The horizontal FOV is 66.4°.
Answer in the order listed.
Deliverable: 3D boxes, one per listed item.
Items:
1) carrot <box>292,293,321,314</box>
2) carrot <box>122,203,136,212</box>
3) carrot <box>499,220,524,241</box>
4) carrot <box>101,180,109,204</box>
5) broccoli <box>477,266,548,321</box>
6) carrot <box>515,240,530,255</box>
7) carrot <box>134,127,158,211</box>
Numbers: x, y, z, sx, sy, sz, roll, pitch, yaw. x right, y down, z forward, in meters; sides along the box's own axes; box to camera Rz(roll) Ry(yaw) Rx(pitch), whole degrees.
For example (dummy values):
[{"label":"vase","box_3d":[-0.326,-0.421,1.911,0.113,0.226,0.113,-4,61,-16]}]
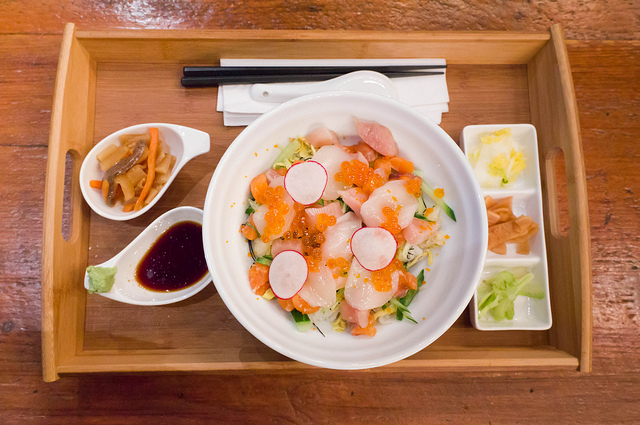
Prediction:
[{"label":"carrot","box_3d":[-0.086,0.542,2.871,0.136,0.038,0.127,-3,118,3]},{"label":"carrot","box_3d":[-1.236,-0.032,3.173,0.073,0.032,0.045,-43,107,-10]},{"label":"carrot","box_3d":[1.214,0.114,3.129,0.127,0.044,0.095,-29,86,-3]},{"label":"carrot","box_3d":[-1.378,-0.140,3.141,0.029,0.115,0.113,-5,59,-38]},{"label":"broccoli","box_3d":[1.211,0.523,3.171,0.428,0.173,0.295,-21,92,-5]},{"label":"carrot","box_3d":[1.322,0.232,3.201,0.032,0.089,0.082,6,87,-44]},{"label":"carrot","box_3d":[-1.074,-0.271,3.152,0.122,0.066,0.551,14,92,-46]}]
